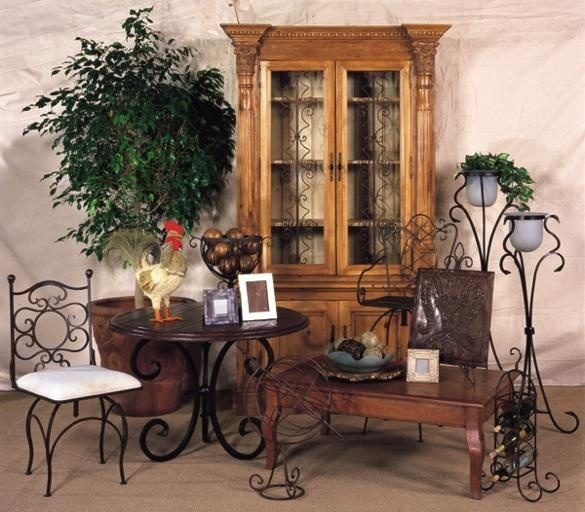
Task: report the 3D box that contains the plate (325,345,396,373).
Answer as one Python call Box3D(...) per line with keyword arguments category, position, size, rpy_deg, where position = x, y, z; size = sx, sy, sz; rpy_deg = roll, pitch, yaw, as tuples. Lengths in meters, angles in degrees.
Box3D(category="plate", position=(0.315, 0.492, 3.106), size=(0.294, 0.108, 0.321), rpy_deg=(0, 4, 3))

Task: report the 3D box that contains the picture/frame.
Box3D(category="picture/frame", position=(-0.264, 0.209, 3.226), size=(0.363, 0.220, 0.238), rpy_deg=(-2, 7, -11))

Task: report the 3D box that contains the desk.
Box3D(category="desk", position=(-0.345, 0.655, 3.470), size=(1.014, 0.846, 0.884), rpy_deg=(0, 0, 14))

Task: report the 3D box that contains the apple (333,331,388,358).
Box3D(category="apple", position=(0.352, 0.417, 3.279), size=(0.272, 0.137, 0.210), rpy_deg=(3, 6, 6))

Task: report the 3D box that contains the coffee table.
Box3D(category="coffee table", position=(0.419, 0.797, 3.120), size=(1.105, 0.554, 0.668), rpy_deg=(2, 8, 19))

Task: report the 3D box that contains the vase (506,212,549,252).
Box3D(category="vase", position=(1.294, -0.132, 3.571), size=(0.189, 0.214, 0.174), rpy_deg=(2, 8, 19))

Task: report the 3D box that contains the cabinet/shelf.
Box3D(category="cabinet/shelf", position=(0.297, -0.241, 4.216), size=(1.315, 2.331, 0.671), rpy_deg=(0, 10, 6))

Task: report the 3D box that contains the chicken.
Box3D(category="chicken", position=(-0.737, 0.069, 3.301), size=(0.472, 0.479, 0.214), rpy_deg=(5, 11, 29))

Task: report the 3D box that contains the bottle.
Box3D(category="bottle", position=(1.034, 0.839, 2.997), size=(0.232, 0.413, 0.376), rpy_deg=(3, 3, 26))
